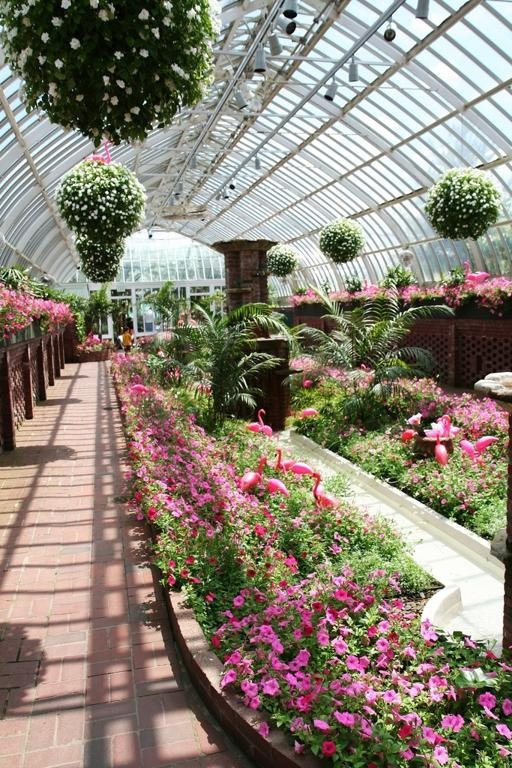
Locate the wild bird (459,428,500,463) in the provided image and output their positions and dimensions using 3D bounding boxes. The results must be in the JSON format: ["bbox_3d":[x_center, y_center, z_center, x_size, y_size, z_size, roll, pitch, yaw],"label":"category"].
[{"bbox_3d":[1.653,0.476,4.010,0.199,0.207,0.296,10,23,33],"label":"wild bird"}]

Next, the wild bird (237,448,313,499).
[{"bbox_3d":[0.115,0.565,3.382,0.274,0.113,0.365,-6,5,-21],"label":"wild bird"}]

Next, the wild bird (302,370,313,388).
[{"bbox_3d":[0.700,-0.061,7.356,0.146,0.222,0.092,5,-10,-8],"label":"wild bird"}]

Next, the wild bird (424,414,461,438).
[{"bbox_3d":[1.510,0.359,4.419,0.192,0.171,0.249,1,-2,-2],"label":"wild bird"}]

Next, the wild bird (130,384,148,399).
[{"bbox_3d":[-1.231,0.063,5.621,0.189,0.096,0.179,0,-22,8],"label":"wild bird"}]

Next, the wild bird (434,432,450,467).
[{"bbox_3d":[1.417,0.532,4.120,0.098,0.226,0.392,-4,-8,20],"label":"wild bird"}]
